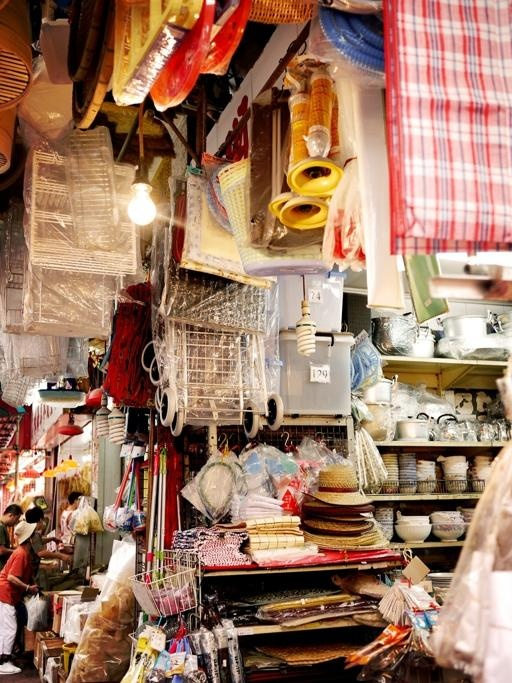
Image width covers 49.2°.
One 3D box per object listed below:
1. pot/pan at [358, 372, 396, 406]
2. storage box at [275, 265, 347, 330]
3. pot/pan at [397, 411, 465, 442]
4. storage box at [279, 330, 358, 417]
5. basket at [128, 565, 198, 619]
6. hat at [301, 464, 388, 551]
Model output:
[{"bbox_3d":[0.941,0.398,4.353,0.230,0.229,0.225,6,-23,-5],"label":"pot/pan"},{"bbox_3d":[0.368,-0.232,3.788,0.544,0.538,0.346,3,-10,-24],"label":"storage box"},{"bbox_3d":[1.418,0.724,4.656,0.444,0.218,0.278,1,-6,-18],"label":"pot/pan"},{"bbox_3d":[0.340,0.319,3.815,0.633,0.626,0.495,4,-12,-17],"label":"storage box"},{"bbox_3d":[-0.455,1.239,2.759,0.316,0.292,0.262,0,-3,-13],"label":"basket"},{"bbox_3d":[0.494,0.935,3.161,0.480,0.443,0.335,0,-3,2],"label":"hat"}]
